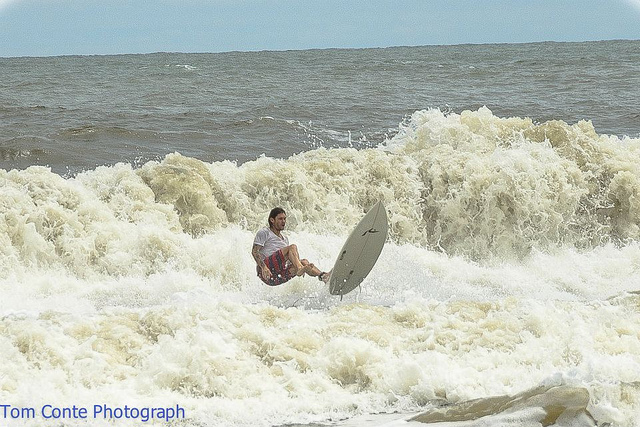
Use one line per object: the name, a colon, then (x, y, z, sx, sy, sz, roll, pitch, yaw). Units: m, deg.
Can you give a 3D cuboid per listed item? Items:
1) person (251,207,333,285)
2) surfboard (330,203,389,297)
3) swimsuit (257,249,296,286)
person: (-0.704, 0.907, 14.289, 0.696, 0.867, 1.261, -16, 32, -38)
surfboard: (0.679, 0.717, 14.381, 1.158, 1.920, 0.189, -10, 29, -29)
swimsuit: (-0.775, 1.033, 14.314, 0.734, 0.539, 0.293, -35, 5, 10)
